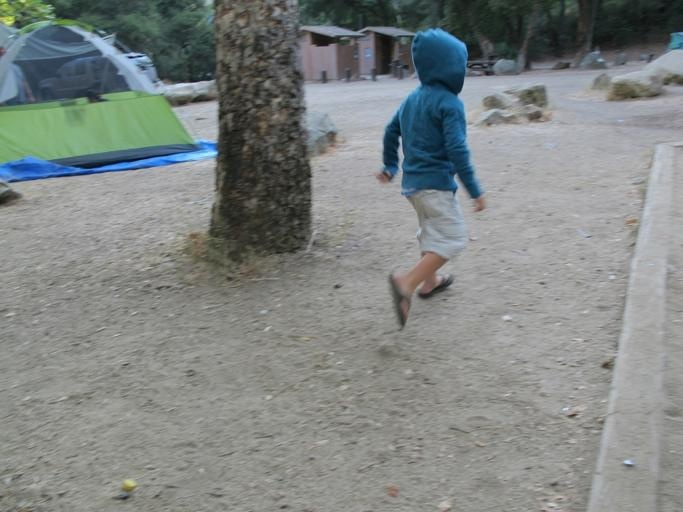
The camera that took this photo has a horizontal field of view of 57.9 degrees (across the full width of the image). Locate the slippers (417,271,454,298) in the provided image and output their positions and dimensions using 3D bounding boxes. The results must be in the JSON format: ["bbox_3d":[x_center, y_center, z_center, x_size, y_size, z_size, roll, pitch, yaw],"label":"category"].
[{"bbox_3d":[0.731,0.228,4.635,0.354,0.105,0.109,-25,59,-11],"label":"slippers"}]

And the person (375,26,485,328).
[{"bbox_3d":[0.614,-0.538,4.260,0.751,1.970,1.225,-2,30,8],"label":"person"}]
